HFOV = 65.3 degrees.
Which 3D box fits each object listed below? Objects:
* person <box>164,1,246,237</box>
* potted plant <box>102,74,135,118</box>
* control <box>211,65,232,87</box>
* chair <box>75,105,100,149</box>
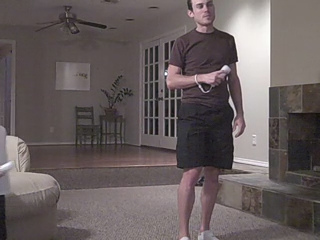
[{"bbox_3d":[0.283,0.011,1.597,0.440,1.464,0.388,-2,-5,29],"label":"person"},{"bbox_3d":[-1.450,-0.830,8.380,0.997,1.568,0.601,1,-4,-11],"label":"potted plant"},{"bbox_3d":[0.353,-0.243,1.409,0.064,0.135,0.111,0,4,-16],"label":"control"},{"bbox_3d":[-2.339,0.152,8.036,0.777,1.320,0.894,1,-4,-13],"label":"chair"}]
